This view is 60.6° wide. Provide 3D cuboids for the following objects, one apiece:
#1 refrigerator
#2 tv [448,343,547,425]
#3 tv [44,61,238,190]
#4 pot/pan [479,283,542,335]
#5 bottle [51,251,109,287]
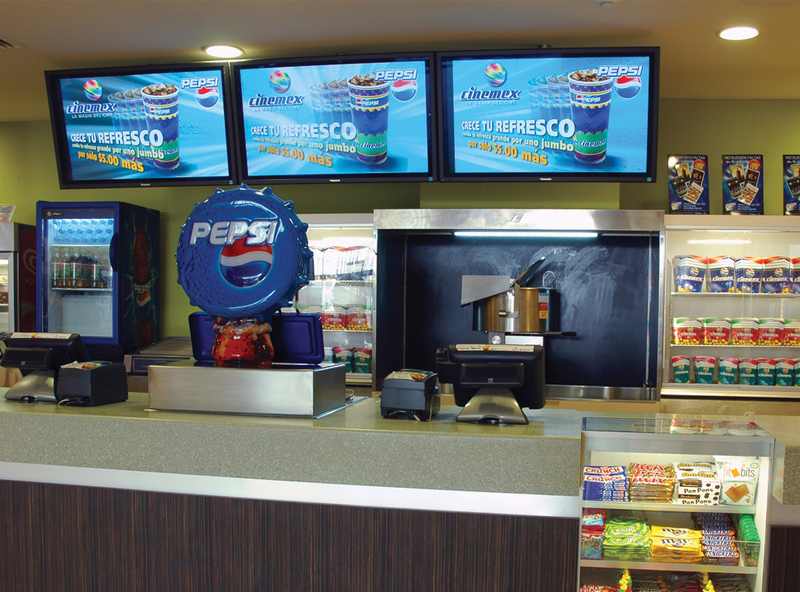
[{"bbox_3d":[-2.281,-0.137,5.187,0.730,1.140,0.630,0,4,9],"label":"refrigerator"},{"bbox_3d":[0.395,0.349,2.816,0.393,0.288,0.281,1,-1,11],"label":"tv"},{"bbox_3d":[-1.695,-1.140,4.557,1.275,0.753,0.060,-1,8,6],"label":"tv"},{"bbox_3d":[0.692,0.082,4.286,0.333,0.213,0.315,0,0,-16],"label":"pot/pan"},{"bbox_3d":[-2.387,-0.178,5.128,0.469,0.286,0.241,-1,4,-9],"label":"bottle"}]
